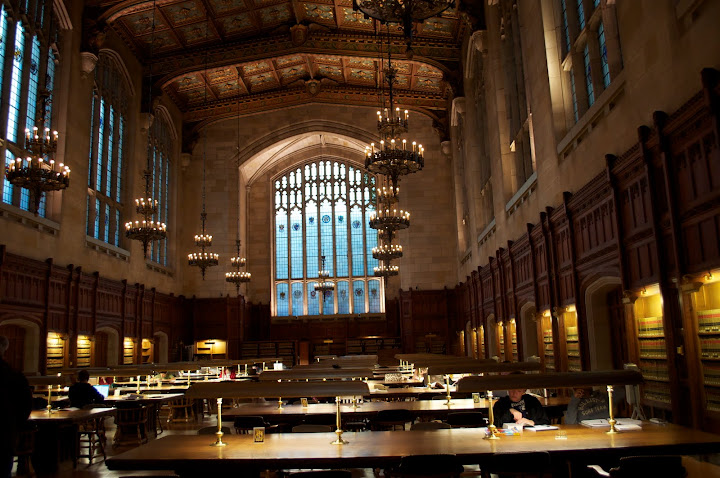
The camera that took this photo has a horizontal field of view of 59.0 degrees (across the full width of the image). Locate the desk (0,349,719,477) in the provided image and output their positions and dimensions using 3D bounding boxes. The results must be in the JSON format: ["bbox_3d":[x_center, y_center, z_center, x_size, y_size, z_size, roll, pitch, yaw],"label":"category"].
[{"bbox_3d":[0.748,2.810,9.900,8.521,1.444,1.165,-3,-17,0],"label":"desk"}]
